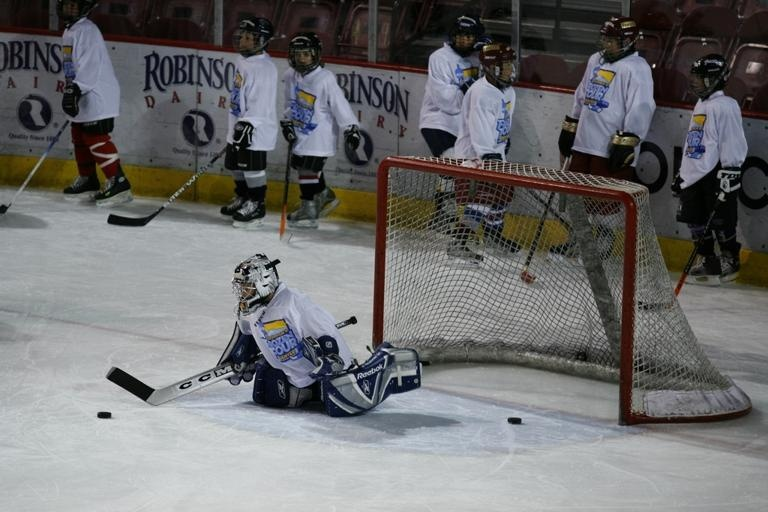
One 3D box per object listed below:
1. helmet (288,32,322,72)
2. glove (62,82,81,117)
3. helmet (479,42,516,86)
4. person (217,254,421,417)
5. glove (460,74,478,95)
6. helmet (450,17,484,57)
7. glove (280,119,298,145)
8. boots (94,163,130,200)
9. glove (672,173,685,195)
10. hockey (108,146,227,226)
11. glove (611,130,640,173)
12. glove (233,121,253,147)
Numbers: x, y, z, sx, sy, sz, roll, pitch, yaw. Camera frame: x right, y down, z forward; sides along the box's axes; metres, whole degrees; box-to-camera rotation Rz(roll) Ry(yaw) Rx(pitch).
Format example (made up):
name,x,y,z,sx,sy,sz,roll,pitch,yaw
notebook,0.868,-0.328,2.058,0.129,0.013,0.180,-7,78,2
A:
name,x,y,z,sx,sy,sz,roll,pitch,yaw
helmet,-0.674,-1.748,6.853,0.295,0.331,0.348,0,8,6
glove,-2.823,-1.419,7.301,0.121,0.280,0.211,7,-2,-31
helmet,0.900,-1.460,6.067,0.351,0.345,0.271,4,27,17
person,-0.379,0.402,4.004,0.834,0.658,0.953,-11,9,-22
glove,0.711,-1.446,6.715,0.091,0.178,0.110,38,5,0
helmet,0.680,-1.808,6.607,0.274,0.297,0.304,14,47,0
glove,-0.837,-1.076,6.964,0.170,0.193,0.197,1,14,-16
boots,-2.517,-0.662,7.553,0.409,0.362,0.154,-18,-14,20
glove,2.197,-0.529,5.975,0.054,0.126,0.093,11,12,-6
hockey,-2.032,-0.661,7.649,1.439,0.361,0.191,-31,24,-27
glove,1.846,-0.806,6.123,0.198,0.293,0.193,9,16,8
glove,-1.216,-1.054,6.943,0.159,0.236,0.192,6,6,-41
